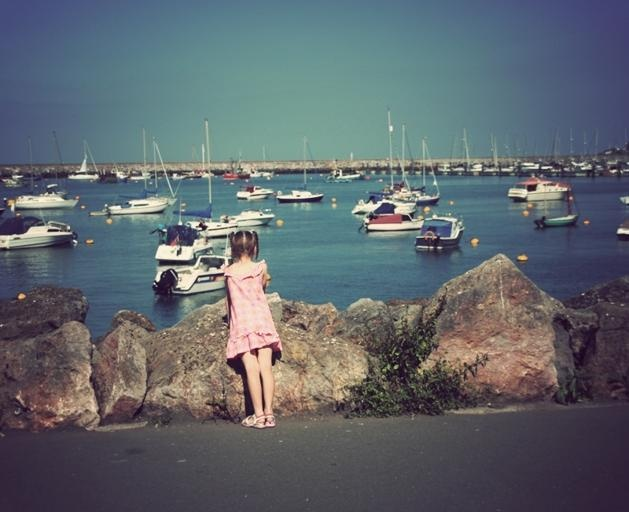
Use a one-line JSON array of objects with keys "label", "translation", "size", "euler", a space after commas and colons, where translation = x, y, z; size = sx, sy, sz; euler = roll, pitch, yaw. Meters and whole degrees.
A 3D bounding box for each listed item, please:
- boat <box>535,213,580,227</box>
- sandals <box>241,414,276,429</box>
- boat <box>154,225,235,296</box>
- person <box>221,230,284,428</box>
[{"label": "boat", "translation": [17.908, -2.553, 56.384], "size": [2.946, 1.020, 2.808], "euler": [-1, 1, 10]}, {"label": "sandals", "translation": [-0.638, 1.835, 8.373], "size": [0.162, 0.130, 0.278], "euler": [2, -1, -36]}, {"label": "boat", "translation": [-5.132, 0.639, 34.256], "size": [2.084, 2.962, 6.719], "euler": [4, 13, 11]}, {"label": "person", "translation": [-0.741, 0.827, 8.716], "size": [0.768, 2.037, 0.615], "euler": [-1, 1, -23]}]
